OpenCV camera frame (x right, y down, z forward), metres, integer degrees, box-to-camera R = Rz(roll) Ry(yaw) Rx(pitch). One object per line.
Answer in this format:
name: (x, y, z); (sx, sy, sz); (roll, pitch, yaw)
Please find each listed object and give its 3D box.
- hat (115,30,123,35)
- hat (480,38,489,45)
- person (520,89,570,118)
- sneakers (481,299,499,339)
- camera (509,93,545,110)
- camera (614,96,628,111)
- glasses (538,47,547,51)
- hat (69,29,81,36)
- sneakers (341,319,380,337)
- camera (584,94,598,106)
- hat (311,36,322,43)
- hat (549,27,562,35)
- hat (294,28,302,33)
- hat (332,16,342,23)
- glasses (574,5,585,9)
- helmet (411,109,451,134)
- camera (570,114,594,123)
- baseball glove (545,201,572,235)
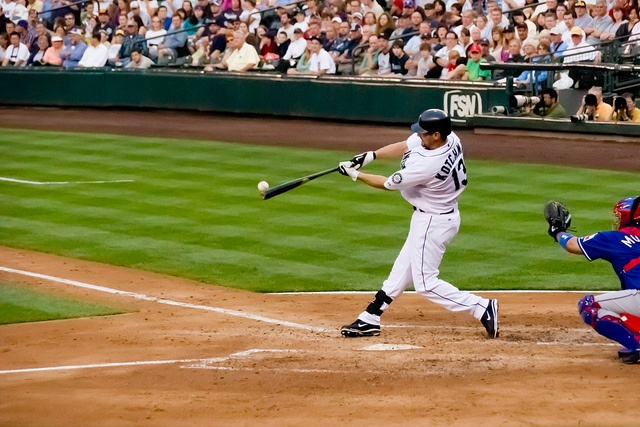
hat: (-5.074, -4.581, 24.701); (0.204, 0.166, 0.250); (0, 5, -10)
hat: (3.182, -3.379, 19.159); (0.277, 0.109, 0.350); (3, 14, 15)
person: (4.095, -2.052, 18.279); (1.153, 0.464, 0.731); (-2, 17, -16)
sneakers: (2.035, 1.264, 11.776); (0.257, 0.473, 0.176); (-12, 26, 4)
camera: (3.814, -2.071, 18.174); (0.603, 0.187, 0.218); (-2, 20, -35)
camera: (5.288, -1.956, 17.285); (0.228, 0.217, 0.214); (3, 6, 15)
glasses: (4.237, -3.176, 18.713); (0.094, 0.102, 0.058); (7, 48, 35)
hat: (-6.243, -4.659, 24.964); (0.296, 0.184, 0.340); (0, 5, -12)
sneakers: (0.466, 1.392, 11.789); (0.515, 0.174, 0.188); (3, -1, -10)
camera: (4.816, -2.033, 17.523); (0.203, 0.204, 0.174); (-1, 0, 25)
hat: (-0.098, -3.791, 21.161); (0.245, 0.080, 0.191); (3, 7, -5)
hat: (4.588, -3.573, 19.131); (0.189, 0.099, 0.239); (6, 14, 28)
hat: (-0.529, -4.164, 22.229); (0.162, 0.075, 0.219); (-1, 2, 7)
hat: (0.347, -4.413, 22.244); (0.158, 0.149, 0.277); (4, 11, 2)
glasses: (5.178, -4.154, 19.622); (0.166, 0.059, 0.158); (0, 3, 11)
helmet: (1.288, -1.090, 11.480); (0.429, 0.177, 0.278); (5, 24, 4)
camera: (4.725, -1.719, 17.645); (0.526, 0.130, 0.133); (-5, 5, -30)
baseball glove: (2.768, 0.043, 11.606); (0.293, 0.383, 0.215); (-21, -3, -10)
